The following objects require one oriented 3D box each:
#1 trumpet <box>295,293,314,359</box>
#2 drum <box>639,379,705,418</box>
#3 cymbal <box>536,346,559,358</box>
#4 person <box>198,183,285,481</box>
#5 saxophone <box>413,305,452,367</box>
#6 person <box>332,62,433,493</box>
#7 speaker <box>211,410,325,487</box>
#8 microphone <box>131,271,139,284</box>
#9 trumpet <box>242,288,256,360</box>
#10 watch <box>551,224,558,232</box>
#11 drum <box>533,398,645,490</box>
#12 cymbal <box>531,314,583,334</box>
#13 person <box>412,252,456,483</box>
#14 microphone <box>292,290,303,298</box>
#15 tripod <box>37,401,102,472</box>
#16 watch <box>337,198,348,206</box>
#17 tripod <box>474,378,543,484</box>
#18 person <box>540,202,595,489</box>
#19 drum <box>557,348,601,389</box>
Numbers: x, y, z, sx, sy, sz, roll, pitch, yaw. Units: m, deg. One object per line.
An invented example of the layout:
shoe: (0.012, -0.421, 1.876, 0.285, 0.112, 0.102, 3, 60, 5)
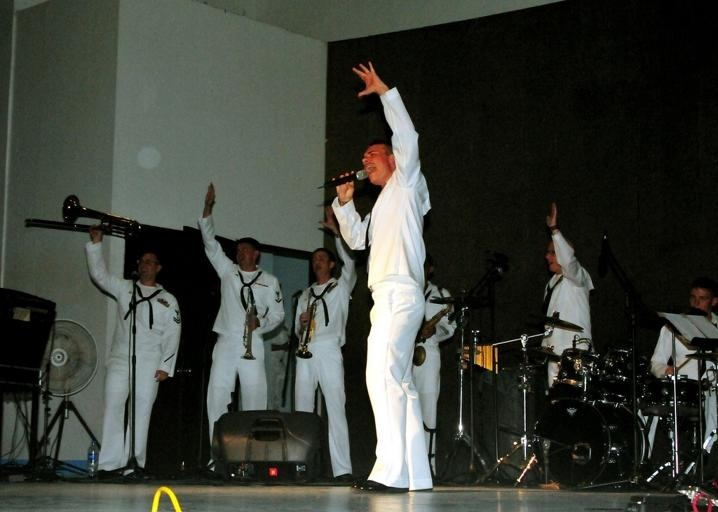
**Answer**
trumpet: (-0.603, 0.849, 11.718, 0.186, 0.588, 0.150, 0, -12, -3)
drum: (3.146, 1.426, 10.595, 0.374, 0.498, 0.419, -3, -11, 22)
cymbal: (2.020, 1.023, 11.068, 0.239, 0.159, 0.296, -5, -14, 17)
person: (-1.380, 0.771, 11.722, 0.795, 3.339, 0.759, 4, -5, -28)
saxophone: (0.797, 0.871, 11.790, 0.331, 0.689, 0.359, 10, -5, -27)
person: (0.216, 0.308, 9.495, 0.760, 3.602, 1.513, 3, -11, -13)
speaker: (-0.814, 1.839, 10.404, 0.828, 0.929, 0.670, -2, -10, 21)
microphone: (-2.416, 0.229, 11.318, 0.106, 0.157, 0.050, -12, -4, 9)
trumpet: (-1.198, 0.730, 11.436, 0.132, 0.799, 0.187, 1, -12, -3)
watch: (2.156, -0.313, 11.457, 0.083, 0.056, 0.087, -6, -32, -19)
drum: (2.380, 1.941, 10.773, 0.780, 0.968, 0.886, 2, -7, -11)
cymbal: (2.114, 0.715, 10.897, 0.295, 0.075, 0.297, 24, -5, -13)
person: (0.823, 1.176, 11.879, 0.410, 2.701, 0.434, 3, -5, 24)
microphone: (-0.782, 0.493, 13.303, 0.108, 0.033, 0.121, -19, 8, 43)
tripod: (-3.361, 2.014, 11.738, 0.706, 1.040, 0.746, -2, -10, 25)
watch: (-0.150, -0.484, 9.510, 0.060, 0.049, 0.062, 2, -6, 1)
tripod: (1.684, 1.948, 11.497, 0.591, 1.241, 0.559, 3, -8, 30)
person: (2.267, 0.484, 11.456, 0.545, 3.303, 0.571, 1, -5, 13)
drum: (2.308, 1.196, 10.982, 0.378, 0.419, 0.418, 21, -16, 12)
